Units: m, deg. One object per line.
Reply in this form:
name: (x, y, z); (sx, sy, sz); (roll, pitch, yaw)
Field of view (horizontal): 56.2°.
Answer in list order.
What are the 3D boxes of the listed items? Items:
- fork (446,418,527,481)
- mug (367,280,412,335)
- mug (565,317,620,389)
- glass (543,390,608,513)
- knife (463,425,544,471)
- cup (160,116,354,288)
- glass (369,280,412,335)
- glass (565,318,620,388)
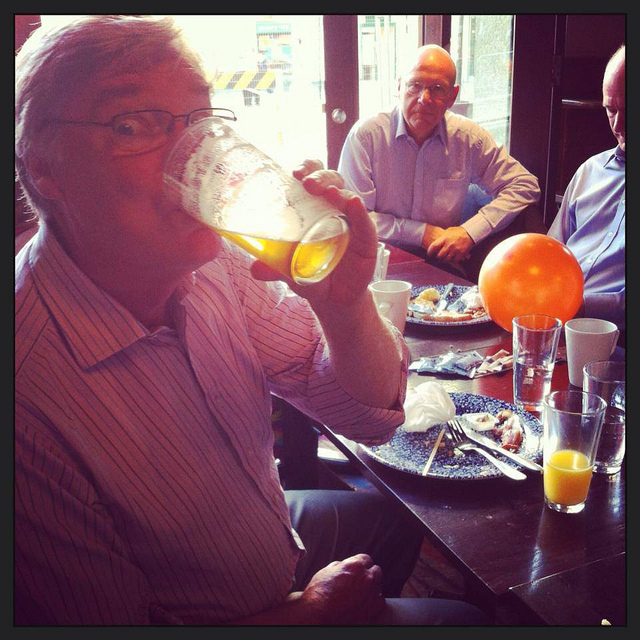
fork: (0.188, 0.155, 0.719); (0.024, 0.025, 0.166); (-8, 21, -15)
mug: (0.119, -0.021, 1.031); (0.067, 0.092, 0.104); (3, 24, 14)
mug: (0.412, 0.048, 0.882); (0.057, 0.072, 0.070); (-10, 12, -12)
glass: (0.270, 0.138, 0.638); (0.061, 0.101, 0.109); (0, 10, 25)
knife: (0.211, 0.151, 0.687); (0.012, 0.005, 0.095); (14, 11, -32)
cup: (-0.048, -0.090, 0.464); (0.146, 0.137, 0.104); (-6, 9, -10)
glass: (0.120, -0.015, 1.030); (0.066, 0.091, 0.102); (3, 24, 15)
glass: (0.392, 0.050, 0.878); (0.097, 0.100, 0.083); (1, 4, -10)
